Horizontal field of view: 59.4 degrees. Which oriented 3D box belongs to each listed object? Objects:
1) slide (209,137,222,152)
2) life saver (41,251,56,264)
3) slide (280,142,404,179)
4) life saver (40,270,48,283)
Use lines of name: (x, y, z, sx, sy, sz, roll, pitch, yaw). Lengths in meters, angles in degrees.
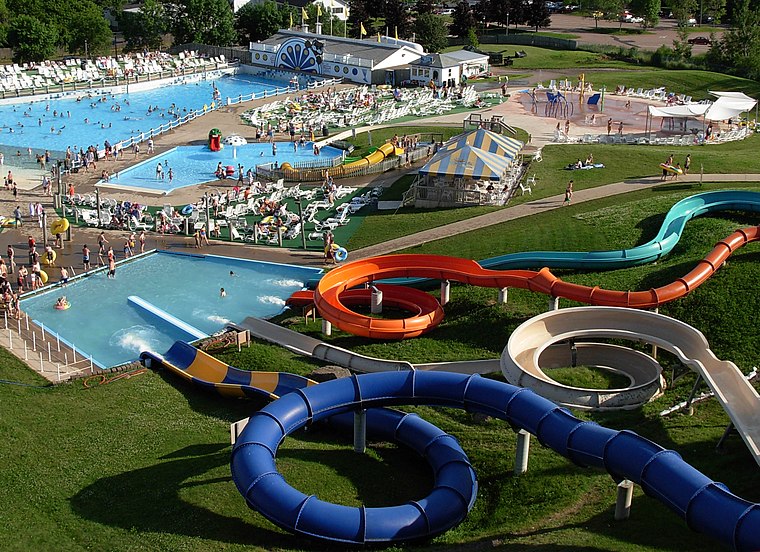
slide: (-17.522, -13.748, 71.845, 1.321, 1.305, 1.473, -2, 34, -15)
life saver: (-23.156, -1.234, 46.329, 0.852, 0.944, 0.599, -9, 24, -15)
slide: (-3.410, -10.144, 62.848, 11.567, 2.438, 3.195, -9, 22, -21)
life saver: (-22.230, 0.082, 44.026, 0.372, 0.788, 1.203, -12, 22, -19)
